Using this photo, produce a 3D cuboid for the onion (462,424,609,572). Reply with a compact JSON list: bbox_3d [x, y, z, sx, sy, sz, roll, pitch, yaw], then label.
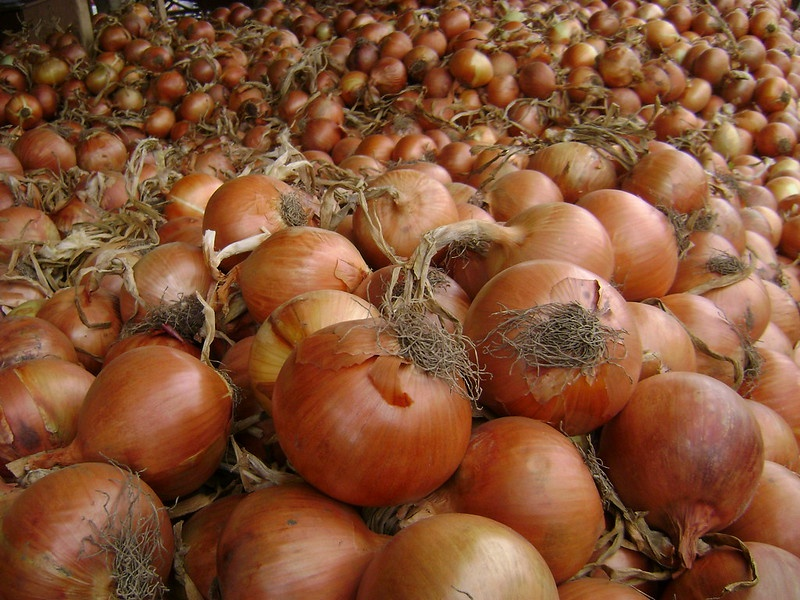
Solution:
[{"bbox_3d":[0.331,0.494,1.881,0.367,0.389,0.376,-15,22,5],"label":"onion"}]
